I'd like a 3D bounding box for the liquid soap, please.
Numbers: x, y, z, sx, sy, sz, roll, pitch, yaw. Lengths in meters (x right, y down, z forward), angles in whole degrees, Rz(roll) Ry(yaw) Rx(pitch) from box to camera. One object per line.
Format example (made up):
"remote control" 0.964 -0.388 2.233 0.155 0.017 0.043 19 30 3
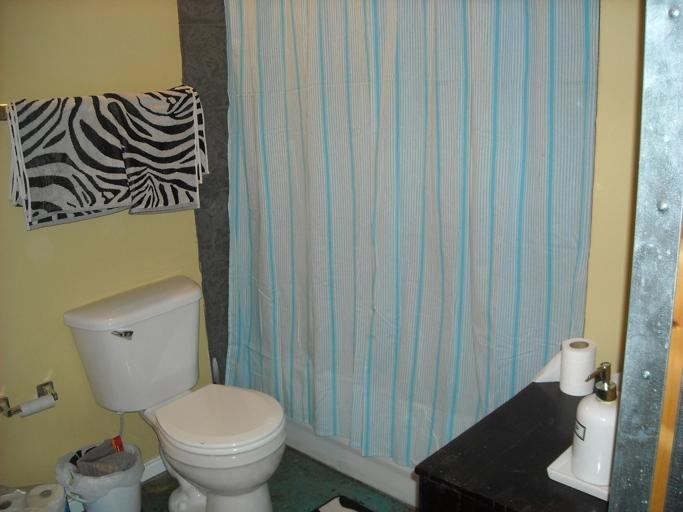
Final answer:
"liquid soap" 0.583 0.401 1.303 0.067 0.255 0.116 9 16 28

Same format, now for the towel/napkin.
"towel/napkin" -0.910 -0.400 2.113 0.202 0.571 0.709 18 23 41
